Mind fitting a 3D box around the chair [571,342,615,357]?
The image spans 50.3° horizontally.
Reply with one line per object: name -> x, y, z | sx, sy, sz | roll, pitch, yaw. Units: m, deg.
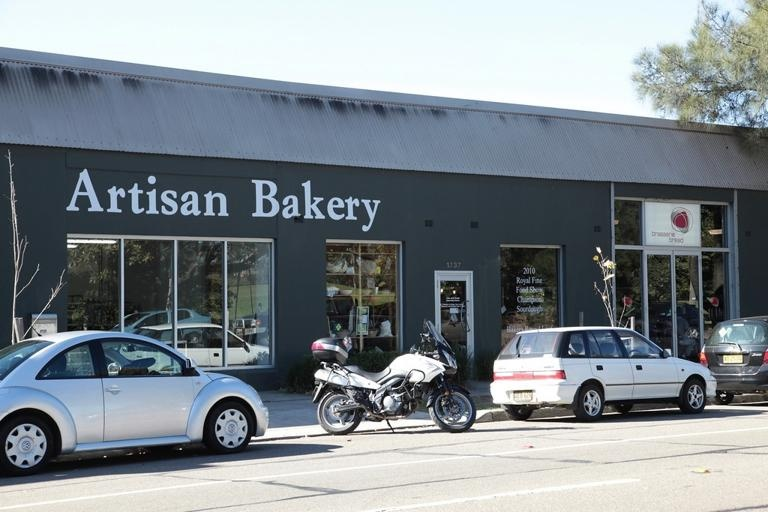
chair -> 4.472, 2.045, 17.479 | 1.316, 0.309, 0.194 | 2, -5, -31

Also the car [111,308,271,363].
car -> -4.789, 1.987, 21.011 | 2.561, 1.236, 1.437 | -1, 0, -24

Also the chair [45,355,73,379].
chair -> -5.205, 1.795, 13.092 | 0.296, 0.380, 0.362 | 2, -2, -17
